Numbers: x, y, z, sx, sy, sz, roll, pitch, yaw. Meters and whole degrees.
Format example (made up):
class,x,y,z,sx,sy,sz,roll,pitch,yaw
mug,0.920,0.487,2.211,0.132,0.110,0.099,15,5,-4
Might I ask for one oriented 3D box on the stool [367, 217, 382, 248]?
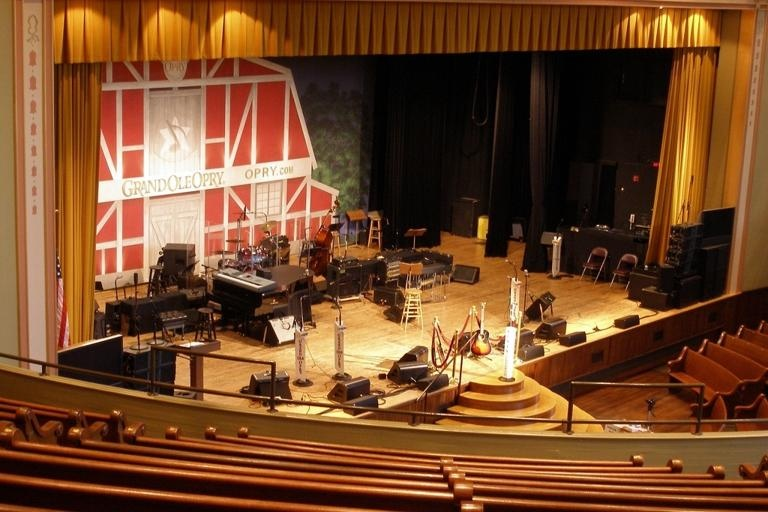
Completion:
class,x,y,z,sx,sy,sz,roll,pitch,yaw
stool,-0.227,-0.599,18.726,0.374,0.777,0.475,-2,7,1

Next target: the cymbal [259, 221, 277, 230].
class,x,y,z,sx,sy,sz,roll,pitch,yaw
cymbal,-2.370,-0.620,15.335,0.283,0.202,0.560,-3,7,-4

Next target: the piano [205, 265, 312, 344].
class,x,y,z,sx,sy,sz,roll,pitch,yaw
piano,-2.064,0.725,13.863,1.314,1.116,1.610,16,19,41

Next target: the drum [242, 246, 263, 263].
class,x,y,z,sx,sy,sz,roll,pitch,yaw
drum,-2.648,-0.023,14.995,0.310,0.250,0.321,7,12,-2

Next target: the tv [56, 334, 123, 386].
class,x,y,z,sx,sy,sz,roll,pitch,yaw
tv,-3.766,1.354,9.530,0.096,0.483,0.744,13,13,34

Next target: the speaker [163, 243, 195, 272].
class,x,y,z,sx,sy,sz,roll,pitch,yaw
speaker,-4.124,0.070,15.059,0.549,0.594,0.563,0,-3,-4
